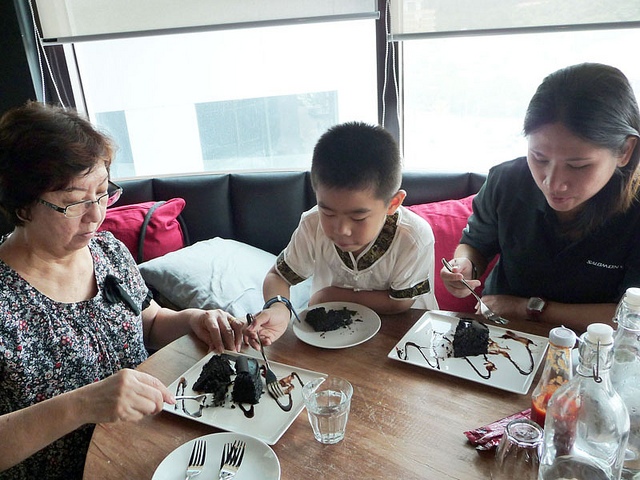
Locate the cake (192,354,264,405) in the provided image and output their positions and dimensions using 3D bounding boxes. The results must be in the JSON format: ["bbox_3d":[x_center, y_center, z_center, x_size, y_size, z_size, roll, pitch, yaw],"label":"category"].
[{"bbox_3d":[-0.310,0.478,1.691,0.182,0.066,0.145,7,26,8],"label":"cake"}]

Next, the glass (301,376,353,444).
[{"bbox_3d":[0.024,0.513,1.559,0.162,0.158,0.168,0,13,27],"label":"glass"}]

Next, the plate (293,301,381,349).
[{"bbox_3d":[0.065,0.337,1.970,0.338,0.056,0.320,-13,23,-29],"label":"plate"}]

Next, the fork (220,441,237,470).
[{"bbox_3d":[-0.272,0.633,1.434,0.031,0.010,0.063,-5,46,8],"label":"fork"}]

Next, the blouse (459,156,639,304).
[{"bbox_3d":[0.971,-0.027,2.049,0.490,0.494,0.279,18,47,33],"label":"blouse"}]

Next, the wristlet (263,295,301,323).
[{"bbox_3d":[-0.155,0.265,2.074,0.095,0.136,0.055,-18,12,25],"label":"wristlet"}]

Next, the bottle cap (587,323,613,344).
[{"bbox_3d":[0.693,0.229,1.214,0.047,0.031,0.048,-1,4,3],"label":"bottle cap"}]
